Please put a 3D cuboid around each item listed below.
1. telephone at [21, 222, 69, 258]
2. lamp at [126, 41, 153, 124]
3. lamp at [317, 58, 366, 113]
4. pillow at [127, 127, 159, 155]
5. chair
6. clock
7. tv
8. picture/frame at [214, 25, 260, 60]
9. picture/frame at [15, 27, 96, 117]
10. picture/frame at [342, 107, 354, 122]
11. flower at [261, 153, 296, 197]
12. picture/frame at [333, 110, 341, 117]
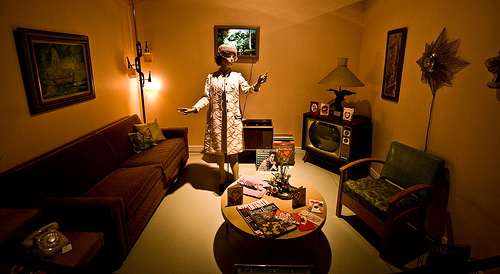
[{"bbox_3d":[-2.414,1.209,3.735,0.382,0.194,0.436,19,20,3],"label":"telephone"},{"bbox_3d":[-2.182,-1.054,6.330,0.455,1.614,0.655,-5,20,-18],"label":"lamp"},{"bbox_3d":[1.622,-1.003,6.236,1.090,1.081,1.030,-3,20,-2],"label":"lamp"},{"bbox_3d":[-1.935,0.076,5.681,0.442,0.397,0.132,-30,5,-43],"label":"pillow"},{"bbox_3d":[2.090,0.849,4.811,1.065,1.401,1.114,-10,21,-31],"label":"chair"},{"bbox_3d":[2.754,-0.694,4.699,0.315,1.755,0.647,-2,19,-10],"label":"clock"},{"bbox_3d":[1.631,-0.078,6.349,0.980,1.251,1.419,-8,15,-37],"label":"tv"},{"bbox_3d":[-0.262,-1.955,6.569,1.182,0.887,0.600,0,15,-1],"label":"picture/frame"},{"bbox_3d":[-2.969,-0.975,4.773,0.096,1.244,1.295,7,20,25],"label":"picture/frame"},{"bbox_3d":[1.798,-0.411,5.849,0.203,0.222,0.191,6,19,15],"label":"picture/frame"},{"bbox_3d":[0.436,0.659,5.025,0.582,0.605,0.579,-3,38,1],"label":"flower"},{"bbox_3d":[1.617,-0.445,5.957,0.139,0.090,0.032,11,10,30],"label":"picture/frame"}]
